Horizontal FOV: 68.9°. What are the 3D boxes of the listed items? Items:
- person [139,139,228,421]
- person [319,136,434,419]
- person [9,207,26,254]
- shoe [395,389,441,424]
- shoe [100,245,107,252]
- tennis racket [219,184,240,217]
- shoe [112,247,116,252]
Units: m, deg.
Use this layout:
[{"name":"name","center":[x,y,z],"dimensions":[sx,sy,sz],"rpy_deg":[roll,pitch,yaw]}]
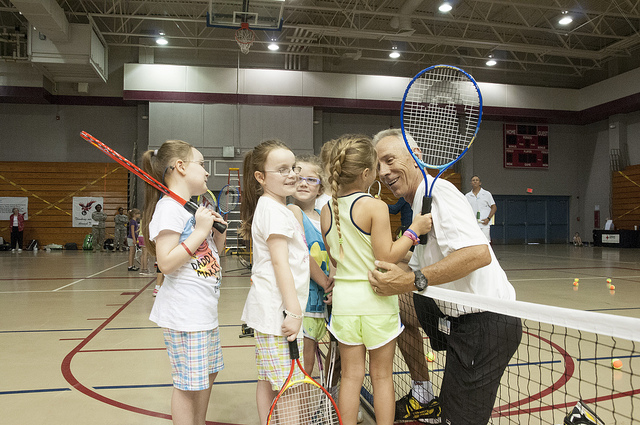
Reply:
[{"name":"person","center":[-1.179,0.710,4.193],"dimensions":[0.683,2.692,0.728],"rpy_deg":[-4,8,-21]},{"name":"person","center":[0.454,0.546,4.134],"dimensions":[0.879,2.428,0.615],"rpy_deg":[-1,8,0]},{"name":"person","center":[-10.066,0.602,15.591],"dimensions":[0.388,1.418,0.637],"rpy_deg":[-9,11,-44]},{"name":"shoe","center":[0.913,1.826,4.385],"dimensions":[0.406,0.271,0.121],"rpy_deg":[0,8,9]},{"name":"shoe","center":[-7.386,1.244,15.935],"dimensions":[0.214,0.209,0.725],"rpy_deg":[-5,9,-25]},{"name":"tennis racket","center":[-2.502,-0.301,12.937],"dimensions":[0.192,0.983,0.614],"rpy_deg":[11,-10,-39]},{"name":"shoe","center":[-7.088,1.297,16.072],"dimensions":[0.107,0.148,0.075],"rpy_deg":[-6,-33,21]}]
